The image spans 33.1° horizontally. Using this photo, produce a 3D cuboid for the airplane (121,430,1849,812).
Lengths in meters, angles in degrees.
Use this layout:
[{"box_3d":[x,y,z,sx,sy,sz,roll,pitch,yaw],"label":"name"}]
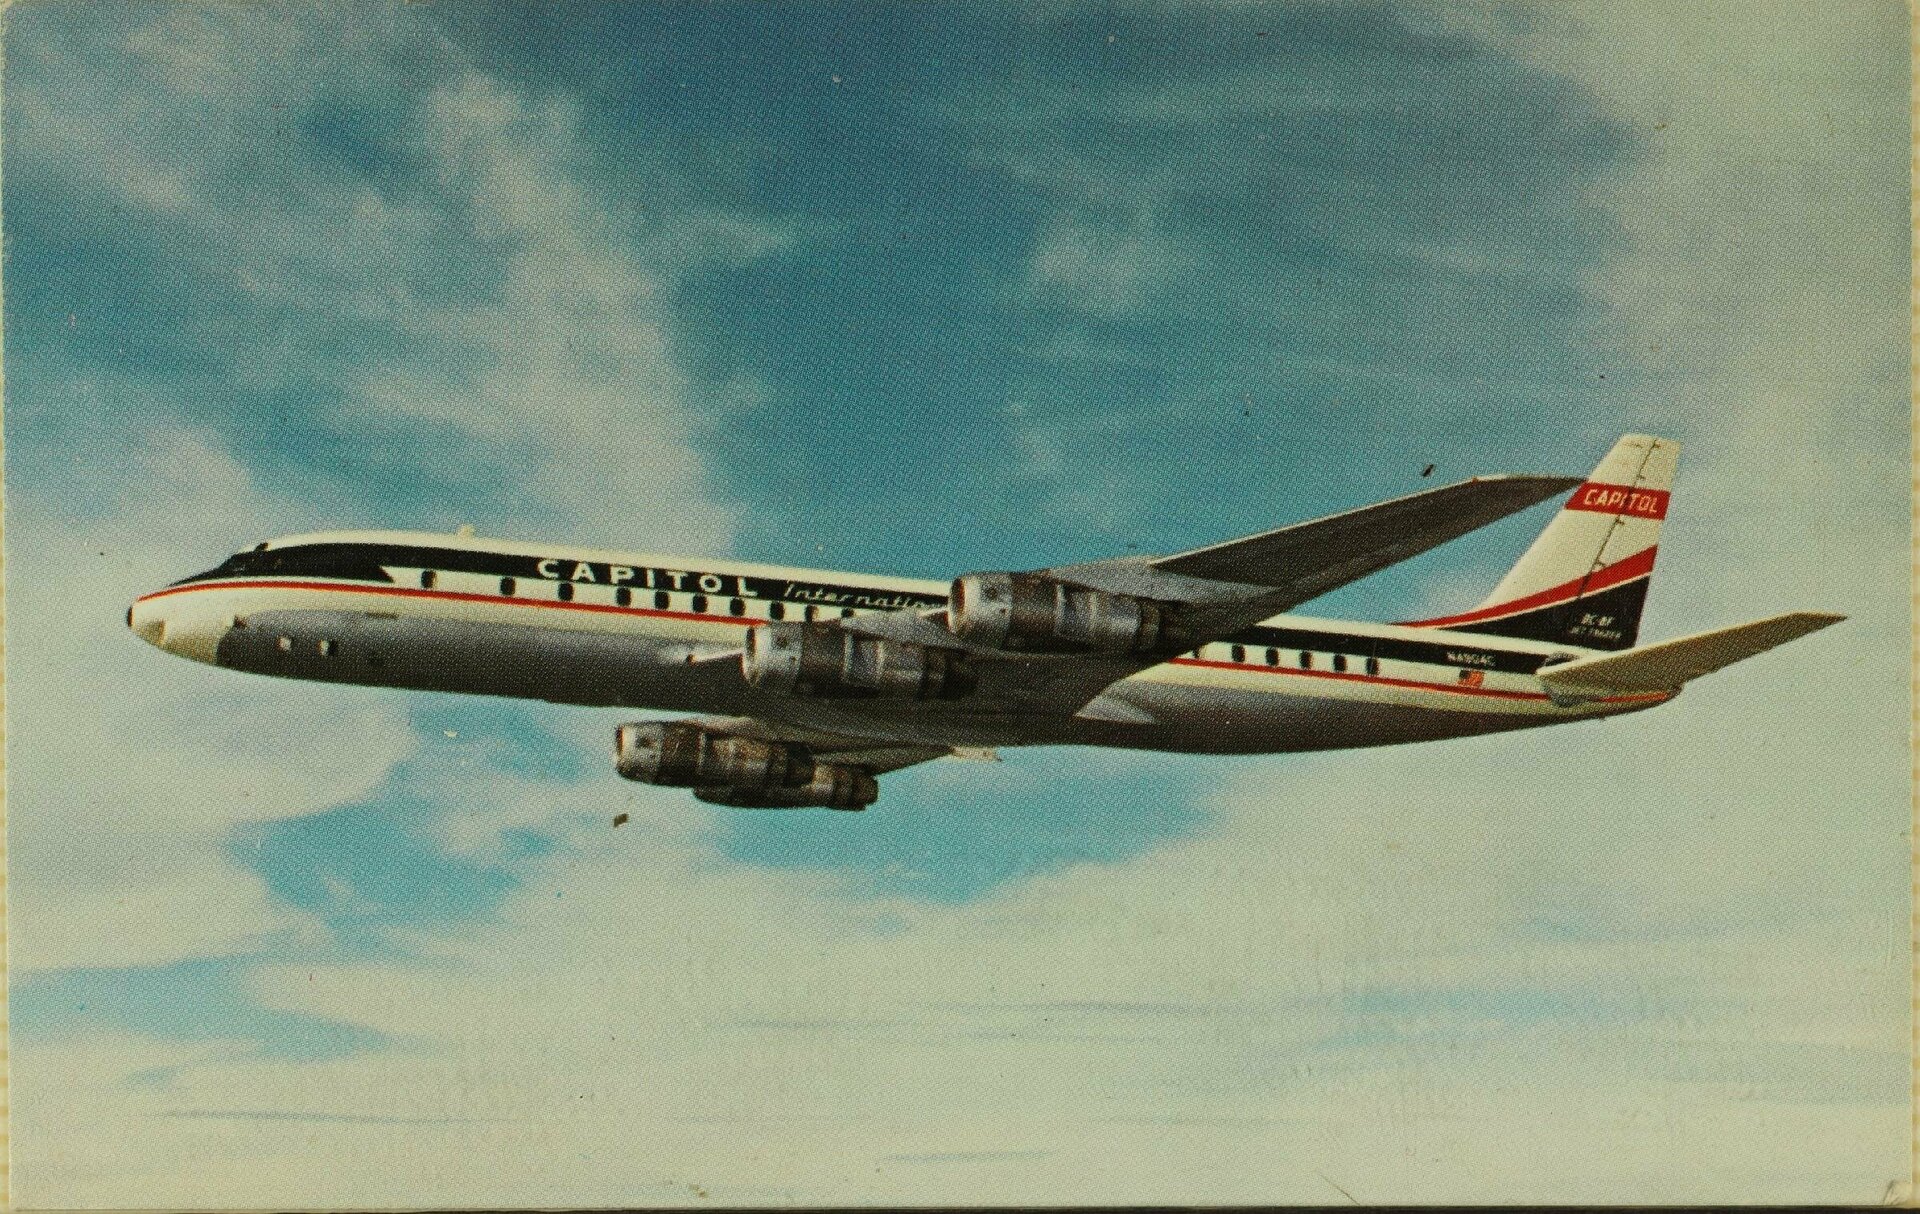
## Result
[{"box_3d":[2.091,0.304,82.105,39.168,13.003,11.820,-3,-29,3],"label":"airplane"}]
